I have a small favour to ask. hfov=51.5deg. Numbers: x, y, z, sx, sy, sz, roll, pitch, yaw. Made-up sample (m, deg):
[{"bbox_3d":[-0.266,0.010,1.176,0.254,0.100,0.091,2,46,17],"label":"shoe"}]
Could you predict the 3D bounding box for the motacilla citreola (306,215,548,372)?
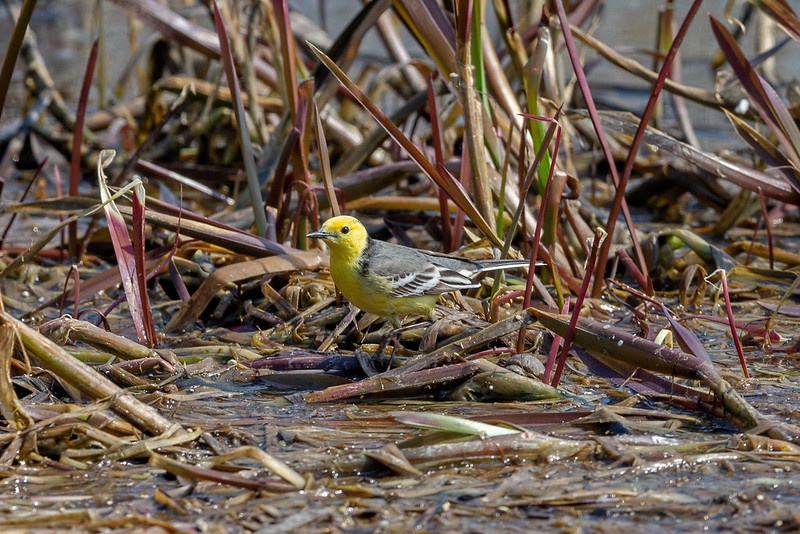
[{"bbox_3d":[0.050,0.016,5.356,1.040,0.606,0.855,-13,30,-33],"label":"motacilla citreola"}]
